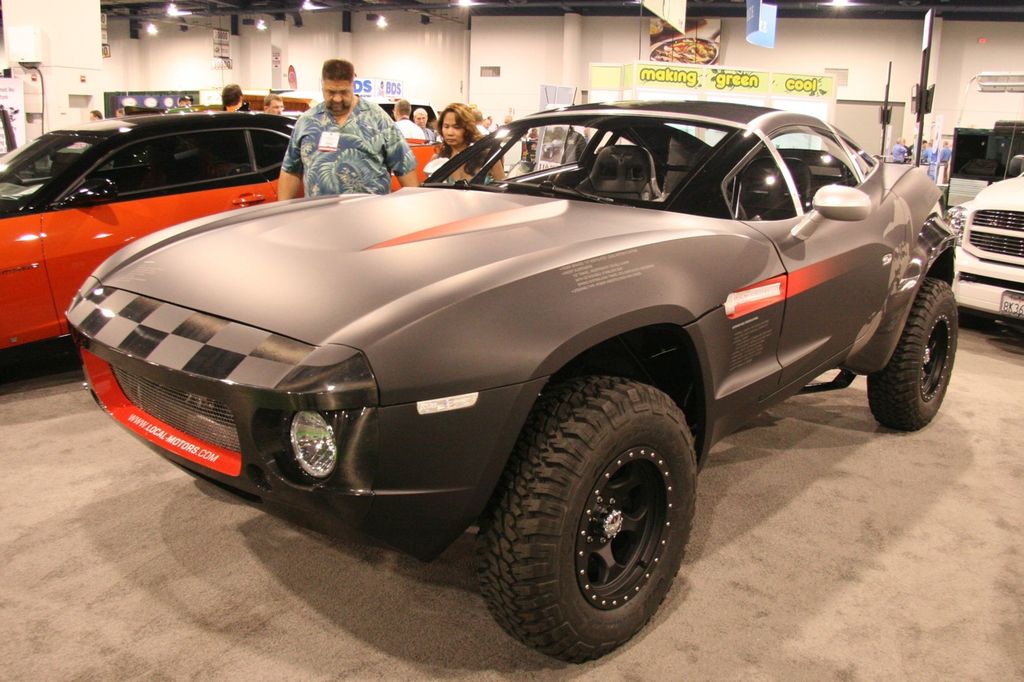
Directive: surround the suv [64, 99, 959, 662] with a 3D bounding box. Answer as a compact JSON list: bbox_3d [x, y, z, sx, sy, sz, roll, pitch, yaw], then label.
[{"bbox_3d":[0.510,0.063,3.375,4.264,1.710,2.452,-13,15,-39],"label":"suv"}]
